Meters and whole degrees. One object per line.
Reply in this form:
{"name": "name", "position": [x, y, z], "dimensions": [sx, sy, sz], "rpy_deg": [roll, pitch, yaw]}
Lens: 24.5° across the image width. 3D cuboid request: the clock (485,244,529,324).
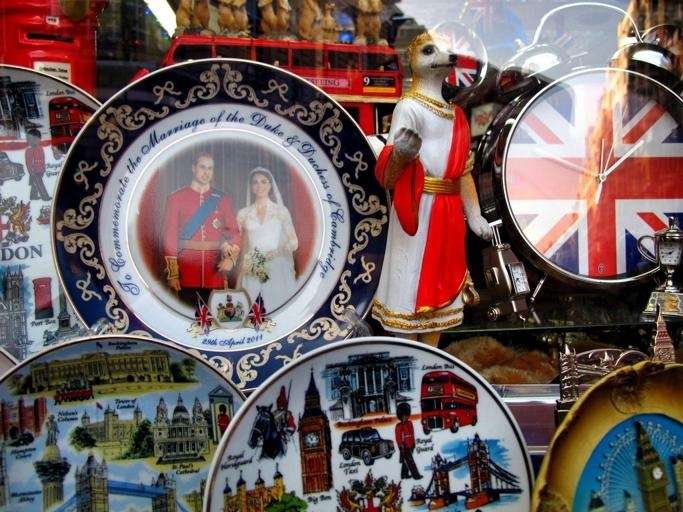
{"name": "clock", "position": [0.391, 0.061, 3.730], "dimensions": [0.113, 0.167, 0.086], "rpy_deg": [-3, -12, -4]}
